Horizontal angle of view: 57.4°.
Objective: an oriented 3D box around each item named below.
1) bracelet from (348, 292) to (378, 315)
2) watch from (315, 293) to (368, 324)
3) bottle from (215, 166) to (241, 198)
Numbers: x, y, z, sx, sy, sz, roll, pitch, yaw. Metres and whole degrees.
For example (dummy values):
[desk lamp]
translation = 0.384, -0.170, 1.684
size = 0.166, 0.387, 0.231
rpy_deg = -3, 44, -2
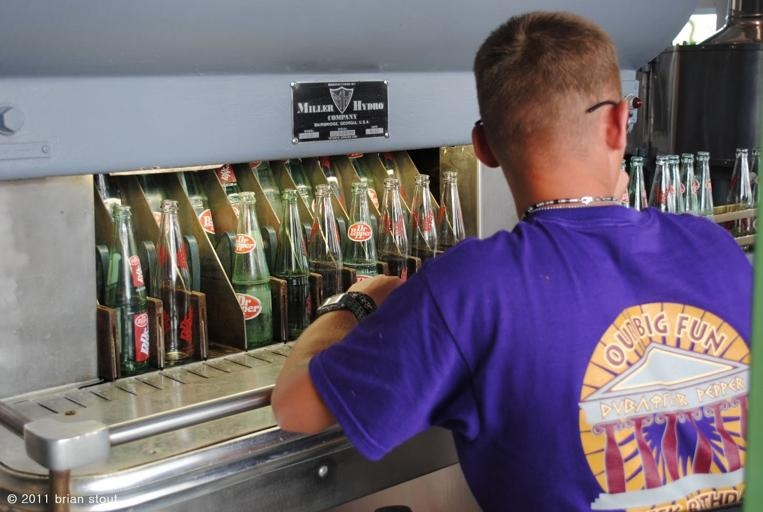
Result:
[bracelet]
translation = -0.037, 0.096, 1.433
size = 0.046, 0.014, 0.048
rpy_deg = 35, 4, 6
[watch]
translation = -0.081, 0.099, 1.435
size = 0.091, 0.080, 0.058
rpy_deg = -7, 43, 24
[bottle]
translation = -0.453, -0.220, 2.054
size = 0.059, 0.099, 0.028
rpy_deg = -22, 5, -22
